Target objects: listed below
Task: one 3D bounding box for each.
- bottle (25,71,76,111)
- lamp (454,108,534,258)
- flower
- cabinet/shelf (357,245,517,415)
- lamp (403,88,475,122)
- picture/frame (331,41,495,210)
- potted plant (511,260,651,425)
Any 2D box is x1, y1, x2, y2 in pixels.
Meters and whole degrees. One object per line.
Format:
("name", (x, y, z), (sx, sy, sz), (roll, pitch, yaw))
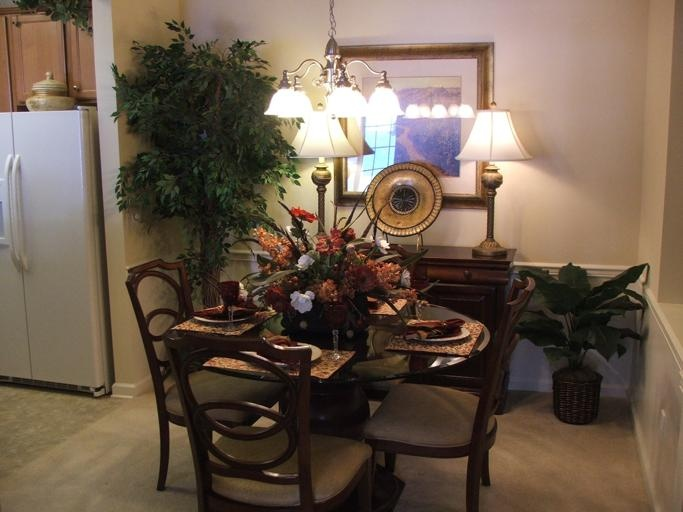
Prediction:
("bottle", (-2.164, -1.207, 4.215), (0.403, 0.295, 0.398), (0, 16, 0))
("lamp", (1.039, -0.548, 3.980), (0.465, 1.045, 0.404), (-2, 11, -9))
("flower", (-0.037, 0.050, 2.861), (0.748, 0.548, 0.764), (1, -1, 12))
("cabinet/shelf", (0.671, 0.546, 4.255), (1.182, 1.124, 0.657), (1, 6, 12))
("lamp", (0.718, -1.073, 4.172), (0.522, 0.125, 0.040), (2, 11, 12))
("picture/frame", (0.561, -0.959, 4.020), (1.367, 1.421, 0.111), (3, 17, 18))
("potted plant", (1.570, 0.619, 3.810), (0.790, 0.977, 0.811), (-9, 5, -20))
